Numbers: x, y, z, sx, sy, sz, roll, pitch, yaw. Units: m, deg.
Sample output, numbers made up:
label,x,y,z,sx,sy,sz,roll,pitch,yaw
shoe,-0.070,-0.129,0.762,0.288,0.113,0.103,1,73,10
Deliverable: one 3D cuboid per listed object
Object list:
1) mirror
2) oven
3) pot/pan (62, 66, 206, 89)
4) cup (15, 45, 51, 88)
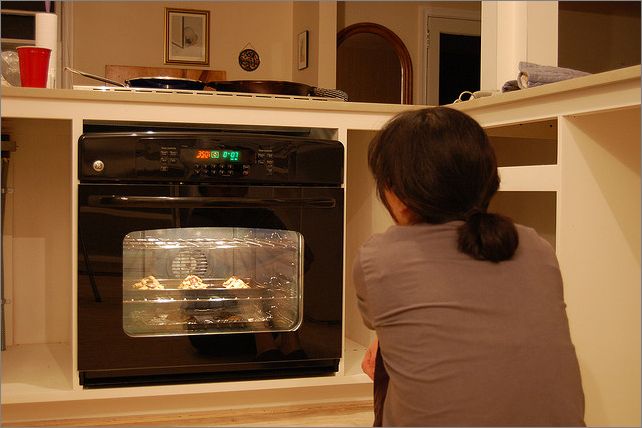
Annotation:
label,x,y,z,sx,sy,sz,roll,pitch,yaw
mirror,0.632,-1.711,5.968,0.851,0.855,0.493,1,6,-2
oven,-0.415,0.155,2.308,1.080,0.921,0.721,1,1,2
pot/pan,-0.809,-0.575,2.260,0.594,0.078,0.331,0,13,-13
cup,-1.124,-0.570,2.009,0.108,0.158,0.075,-2,6,-24
